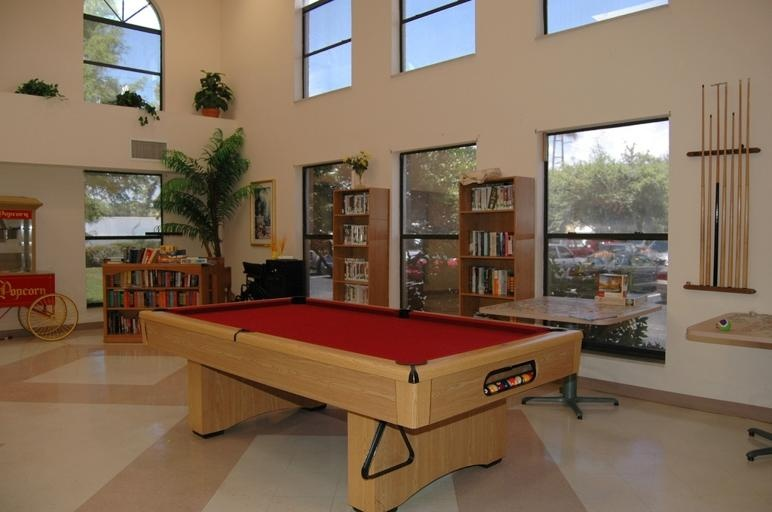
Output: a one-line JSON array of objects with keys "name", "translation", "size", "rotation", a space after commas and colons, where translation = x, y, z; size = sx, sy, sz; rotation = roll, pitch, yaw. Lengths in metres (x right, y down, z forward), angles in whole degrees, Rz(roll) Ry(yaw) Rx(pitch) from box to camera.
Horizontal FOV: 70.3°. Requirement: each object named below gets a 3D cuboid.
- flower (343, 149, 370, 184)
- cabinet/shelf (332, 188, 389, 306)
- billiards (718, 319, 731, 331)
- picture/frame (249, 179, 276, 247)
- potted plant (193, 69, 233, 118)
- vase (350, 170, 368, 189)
[{"name": "flower", "translation": [-0.444, -1.363, 8.564], "size": [0.370, 0.534, 0.498], "rotation": [0, 11, 2]}, {"name": "cabinet/shelf", "translation": [-0.377, -0.154, 8.363], "size": [0.914, 1.772, 0.608], "rotation": [9, 15, 38]}, {"name": "billiards", "translation": [2.884, 0.586, 4.675], "size": [0.090, 0.076, 0.081], "rotation": [-17, 13, 4]}, {"name": "picture/frame", "translation": [-2.247, -0.778, 9.915], "size": [0.314, 1.182, 0.798], "rotation": [-11, 15, -41]}, {"name": "potted plant", "translation": [-3.282, -3.050, 10.410], "size": [0.649, 0.839, 0.668], "rotation": [0, 14, -14]}, {"name": "vase", "translation": [-0.419, -1.197, 8.536], "size": [0.392, 0.215, 0.211], "rotation": [1, -5, -24]}]
